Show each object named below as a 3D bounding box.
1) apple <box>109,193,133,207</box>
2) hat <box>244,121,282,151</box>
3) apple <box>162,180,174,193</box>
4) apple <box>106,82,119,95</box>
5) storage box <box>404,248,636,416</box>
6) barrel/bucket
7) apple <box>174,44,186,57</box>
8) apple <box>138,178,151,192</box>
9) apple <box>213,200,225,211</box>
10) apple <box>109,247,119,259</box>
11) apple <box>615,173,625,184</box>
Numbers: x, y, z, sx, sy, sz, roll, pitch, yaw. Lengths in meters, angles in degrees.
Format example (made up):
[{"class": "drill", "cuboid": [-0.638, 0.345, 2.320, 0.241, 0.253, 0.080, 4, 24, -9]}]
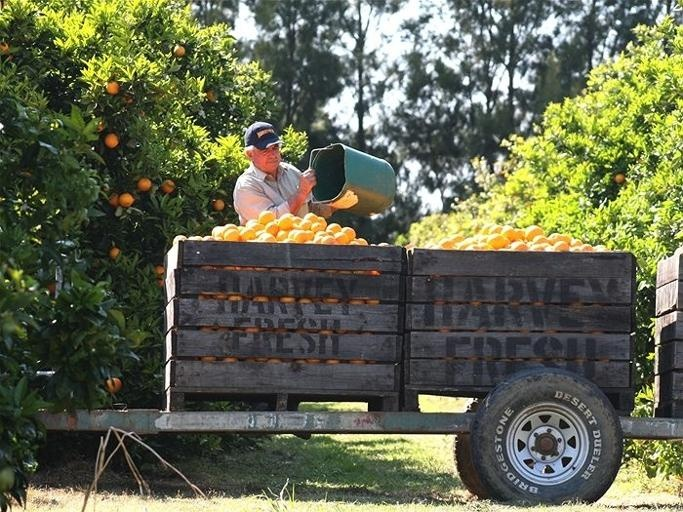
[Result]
[{"class": "apple", "cuboid": [-2.507, -0.662, 17.615, 0.289, 0.191, 0.282, 3, -6, -1]}, {"class": "hat", "cuboid": [-0.887, -1.314, 16.662, 0.251, 0.206, 0.370, -12, 7, -34]}, {"class": "apple", "cuboid": [-2.001, -0.816, 17.822, 0.148, 0.166, 0.205, 4, -6, -6]}, {"class": "apple", "cuboid": [-2.563, -1.927, 17.350, 0.162, 0.157, 0.145, 5, -6, -23]}, {"class": "storage box", "cuboid": [1.825, 0.525, 16.055, 2.225, 1.525, 1.305, 2, 11, 2]}, {"class": "barrel/bucket", "cuboid": [0.102, -0.882, 16.899, 0.960, 0.711, 0.712, 7, -9, -37]}, {"class": "apple", "cuboid": [-1.905, -2.470, 18.379, 0.126, 0.151, 0.129, 23, 36, 17]}, {"class": "apple", "cuboid": [-2.240, -0.839, 17.641, 0.136, 0.134, 0.135, -28, 37, -35]}, {"class": "apple", "cuboid": [-1.439, -0.626, 18.175, 0.118, 0.143, 0.120, 2, -11, -24]}, {"class": "apple", "cuboid": [-2.595, -0.049, 17.637, 0.118, 0.146, 0.117, -2, 9, -44]}, {"class": "apple", "cuboid": [3.602, -1.023, 19.825, 0.118, 0.141, 0.121, 1, 32, -1]}]
